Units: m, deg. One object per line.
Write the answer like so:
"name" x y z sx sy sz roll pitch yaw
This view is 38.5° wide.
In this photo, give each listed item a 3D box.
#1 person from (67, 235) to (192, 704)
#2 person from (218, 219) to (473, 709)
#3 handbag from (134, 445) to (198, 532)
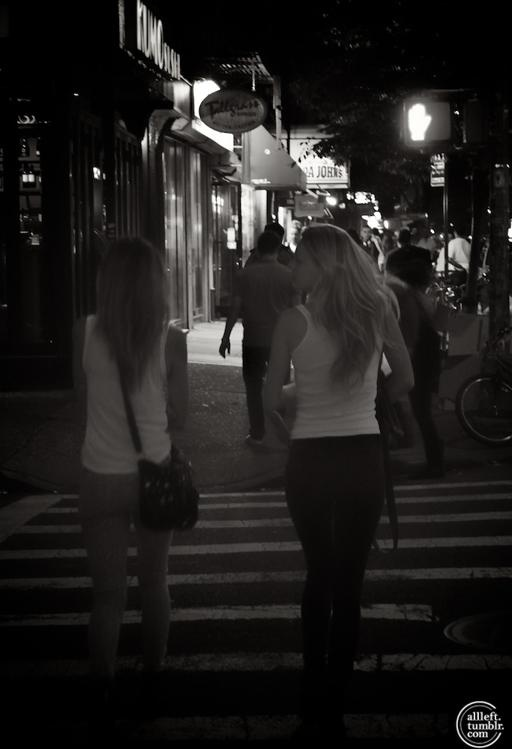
"person" -0.396 0.319 2.332 0.350 1.481 0.362 0 0 -19
"person" 0.289 0.316 2.499 0.498 1.694 0.426 0 0 -8
"handbag" -0.276 0.347 2.277 0.142 0.300 0.115 10 -16 -34
